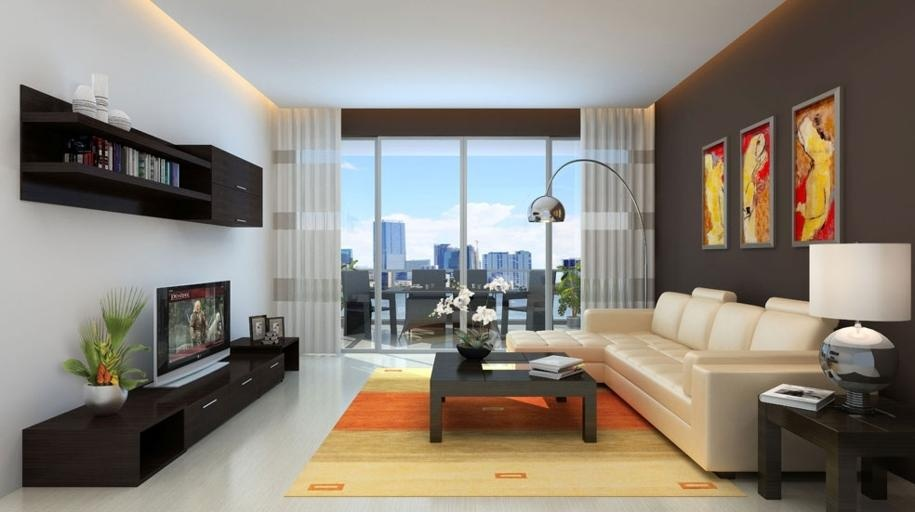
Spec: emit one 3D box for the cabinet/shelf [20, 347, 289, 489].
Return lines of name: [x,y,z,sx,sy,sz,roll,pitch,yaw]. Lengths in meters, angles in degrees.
cabinet/shelf: [-3.223,1.720,6.587,1.296,0.530,2.964,-1,4,4]

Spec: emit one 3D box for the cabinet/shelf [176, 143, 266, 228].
cabinet/shelf: [-2.968,-0.806,7.186,0.506,0.855,1.602,0,0,2]

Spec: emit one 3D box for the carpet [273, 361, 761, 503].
carpet: [0.329,1.903,6.792,4.097,0.016,4.274,2,3,-7]

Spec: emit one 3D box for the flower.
flower: [0.267,0.779,6.590,0.695,0.753,0.807,9,7,32]

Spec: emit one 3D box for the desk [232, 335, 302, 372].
desk: [-2.570,1.248,7.629,0.539,0.319,0.784,0,-1,5]

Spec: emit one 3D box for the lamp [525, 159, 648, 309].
lamp: [1.617,-0.344,8.132,1.429,2.255,2.390,0,2,39]

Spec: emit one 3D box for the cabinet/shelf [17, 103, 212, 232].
cabinet/shelf: [-3.353,-0.921,5.930,0.538,0.879,2.083,6,0,11]

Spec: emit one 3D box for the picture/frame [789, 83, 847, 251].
picture/frame: [3.698,-0.906,5.922,0.137,1.571,0.514,-2,2,-18]

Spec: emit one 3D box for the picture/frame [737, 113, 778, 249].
picture/frame: [3.435,-0.835,6.594,0.054,1.446,0.488,-2,2,-18]

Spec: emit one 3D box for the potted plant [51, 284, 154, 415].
potted plant: [-3.456,0.950,5.622,0.940,1.077,0.832,1,-11,-44]

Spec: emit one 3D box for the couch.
couch: [2.919,1.234,6.923,1.663,1.420,3.776,-3,2,0]

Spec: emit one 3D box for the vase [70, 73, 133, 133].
vase: [-3.521,-1.519,5.605,0.529,0.382,0.518,0,2,43]

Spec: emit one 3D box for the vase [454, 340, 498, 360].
vase: [0.206,1.083,6.575,0.477,0.155,0.440,0,-5,0]
